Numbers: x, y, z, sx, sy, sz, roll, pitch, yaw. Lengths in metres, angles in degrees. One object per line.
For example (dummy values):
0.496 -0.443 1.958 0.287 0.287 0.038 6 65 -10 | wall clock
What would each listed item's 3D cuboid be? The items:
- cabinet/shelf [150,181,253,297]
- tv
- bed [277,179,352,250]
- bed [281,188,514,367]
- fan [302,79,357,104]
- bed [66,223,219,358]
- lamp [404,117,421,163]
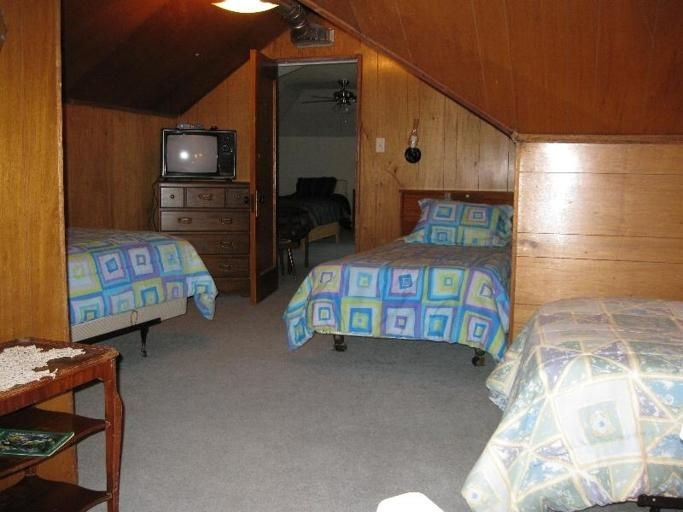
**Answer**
-1.141 -0.172 4.537 1.023 1.043 0.402 0 3 -1 | cabinet/shelf
-1.323 -0.942 5.123 0.737 0.533 0.448 1 2 -7 | tv
-0.542 -0.584 7.114 0.858 0.673 1.312 2 7 15 | bed
0.540 0.104 4.010 1.331 0.924 1.669 3 10 18 | bed
-0.188 -2.625 8.788 1.090 0.332 1.000 6 13 22 | fan
-1.205 0.137 3.322 0.795 0.397 0.804 7 10 43 | bed
0.671 -1.070 5.178 0.155 0.411 0.055 1 9 2 | lamp
